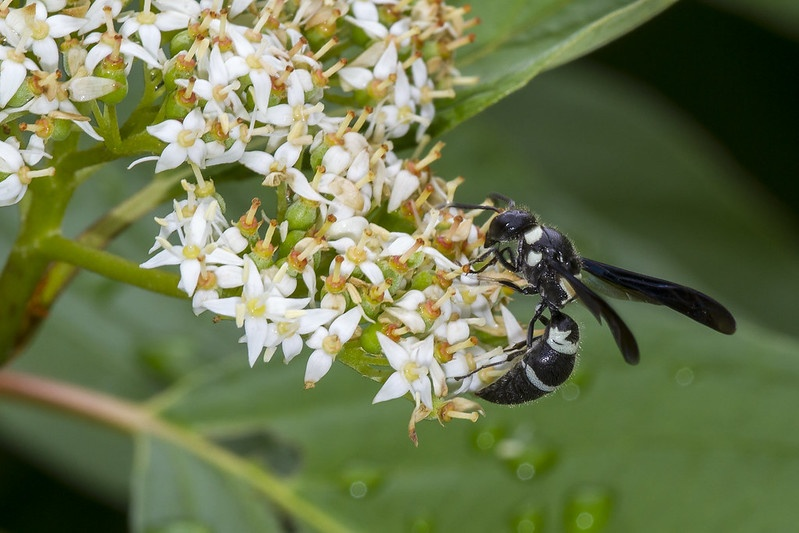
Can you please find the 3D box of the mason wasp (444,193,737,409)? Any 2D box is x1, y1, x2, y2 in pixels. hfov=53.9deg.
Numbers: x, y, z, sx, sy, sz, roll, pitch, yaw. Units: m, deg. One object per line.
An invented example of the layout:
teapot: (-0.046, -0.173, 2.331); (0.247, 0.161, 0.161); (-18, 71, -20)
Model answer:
mason wasp: (0.255, 0.082, 1.224); (0.372, 0.145, 0.361); (42, 23, 2)
